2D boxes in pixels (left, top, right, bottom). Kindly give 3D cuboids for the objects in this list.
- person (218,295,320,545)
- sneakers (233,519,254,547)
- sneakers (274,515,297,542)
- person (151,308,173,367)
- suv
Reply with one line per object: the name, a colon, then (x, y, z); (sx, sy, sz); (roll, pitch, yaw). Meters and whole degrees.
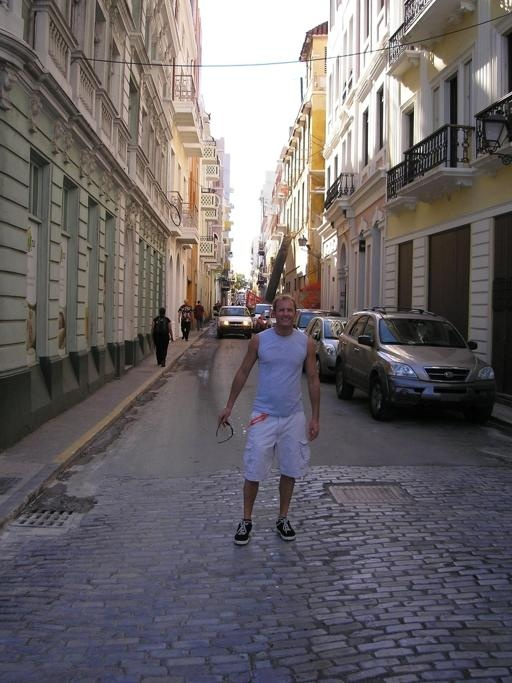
person: (0.136, 0.557, 4.073); (0.677, 1.764, 0.884); (0, -1, 7)
sneakers: (-0.095, 1.341, 3.741); (0.095, 0.127, 0.185); (0, -1, 15)
sneakers: (0.214, 1.365, 3.858); (0.061, 0.106, 0.202); (0, -6, -12)
person: (-3.189, -0.278, 18.059); (0.515, 2.223, 0.565); (5, 33, -4)
suv: (2.902, 0.361, 10.417); (2.124, 2.063, 3.563); (1, -1, -3)
